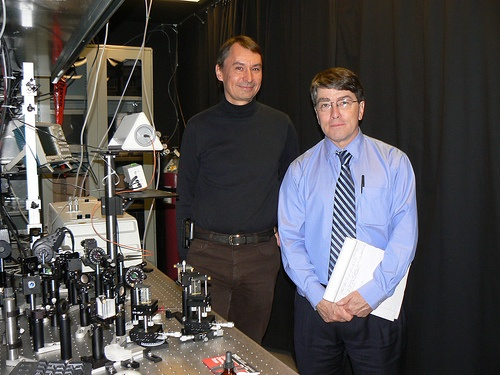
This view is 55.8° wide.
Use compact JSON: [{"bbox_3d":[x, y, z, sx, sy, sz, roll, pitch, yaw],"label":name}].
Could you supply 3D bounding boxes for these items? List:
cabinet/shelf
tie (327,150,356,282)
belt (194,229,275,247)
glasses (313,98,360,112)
[{"bbox_3d":[-1.480,-0.329,4.801,1.039,2.563,2.119,-2,4,-12],"label":"cabinet/shelf"},{"bbox_3d":[0.464,0.135,2.409,0.138,0.643,0.125,0,5,10],"label":"tie"},{"bbox_3d":[-0.105,0.287,2.744,0.456,0.085,0.119,-1,4,1],"label":"belt"},{"bbox_3d":[0.440,-0.413,2.405,0.190,0.060,0.057,0,4,14],"label":"glasses"}]
